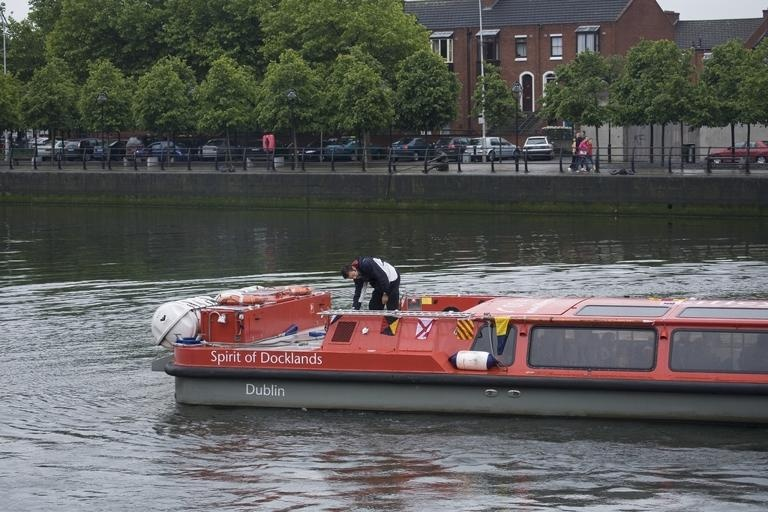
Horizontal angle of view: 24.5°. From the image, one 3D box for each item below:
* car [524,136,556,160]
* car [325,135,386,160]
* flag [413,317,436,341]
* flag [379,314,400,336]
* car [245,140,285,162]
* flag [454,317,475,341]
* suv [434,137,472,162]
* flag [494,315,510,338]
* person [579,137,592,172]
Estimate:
[{"bbox_3d":[9.096,-6.122,103.026,1.566,1.062,3.426,1,8,10],"label":"car"},{"bbox_3d":[-1.439,-5.760,100.994,3.603,1.172,1.770,-2,6,0],"label":"car"},{"bbox_3d":[1.387,2.444,58.743,0.729,0.829,0.178,10,-15,4],"label":"flag"},{"bbox_3d":[0.224,2.321,58.849,0.734,0.736,0.112,7,-18,13],"label":"flag"},{"bbox_3d":[-6.574,-5.933,104.157,2.907,1.170,1.690,2,3,18],"label":"car"},{"bbox_3d":[2.713,2.448,58.659,0.895,0.813,0.092,1,-9,3],"label":"flag"},{"bbox_3d":[3.970,-6.015,103.359,1.783,1.370,3.672,3,8,24],"label":"suv"},{"bbox_3d":[3.901,2.369,58.486,0.785,0.857,0.153,0,-15,4],"label":"flag"},{"bbox_3d":[9.915,-4.945,87.432,0.671,1.621,1.444,-3,4,6],"label":"person"}]
